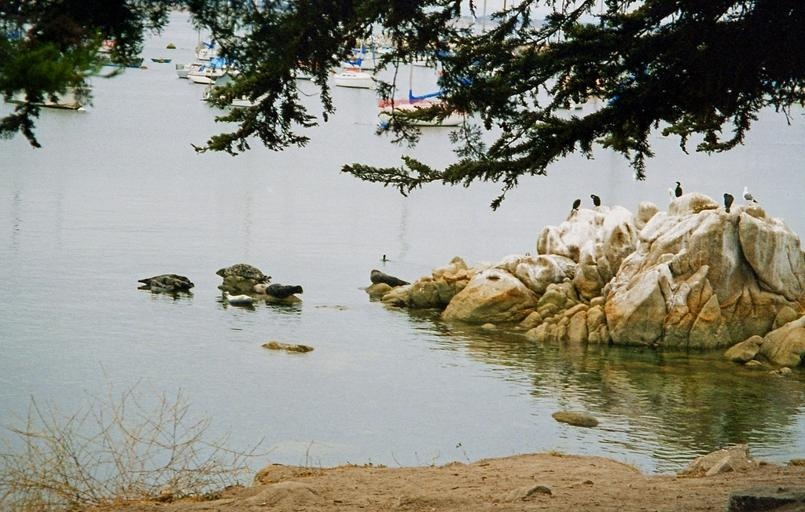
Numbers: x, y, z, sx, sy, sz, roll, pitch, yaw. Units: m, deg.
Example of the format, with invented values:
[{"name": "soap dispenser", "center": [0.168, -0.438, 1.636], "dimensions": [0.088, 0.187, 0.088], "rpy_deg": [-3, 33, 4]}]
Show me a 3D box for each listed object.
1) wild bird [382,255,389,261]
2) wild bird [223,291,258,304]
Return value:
[{"name": "wild bird", "center": [-1.198, 0.169, 121.282], "dimensions": [0.407, 0.139, 0.521], "rpy_deg": [-1, -26, 2]}, {"name": "wild bird", "center": [-9.790, 2.552, 103.274], "dimensions": [1.185, 0.431, 0.852], "rpy_deg": [6, -3, 3]}]
